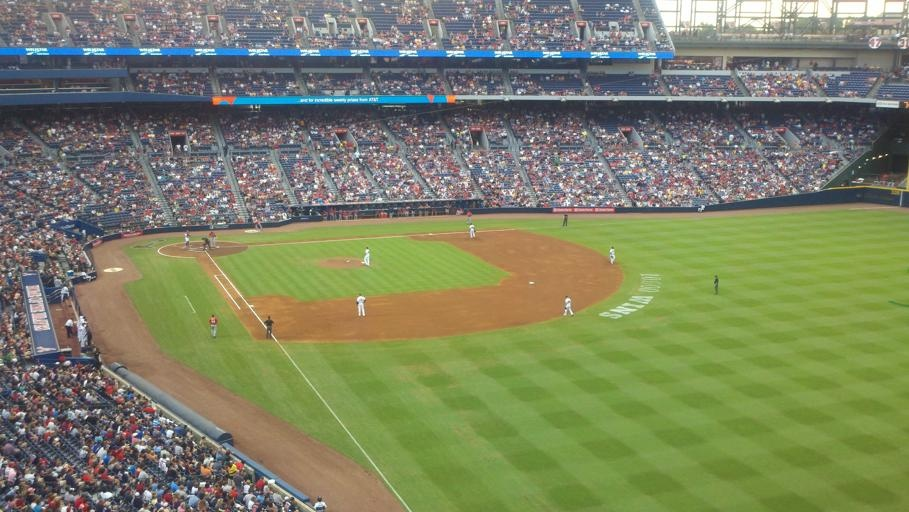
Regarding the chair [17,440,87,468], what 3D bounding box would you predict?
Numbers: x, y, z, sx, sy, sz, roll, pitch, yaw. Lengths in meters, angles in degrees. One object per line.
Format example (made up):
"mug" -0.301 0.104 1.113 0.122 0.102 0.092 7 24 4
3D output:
"chair" -33.187 16.185 72.684 4.962 1.551 1.107 4 25 19
